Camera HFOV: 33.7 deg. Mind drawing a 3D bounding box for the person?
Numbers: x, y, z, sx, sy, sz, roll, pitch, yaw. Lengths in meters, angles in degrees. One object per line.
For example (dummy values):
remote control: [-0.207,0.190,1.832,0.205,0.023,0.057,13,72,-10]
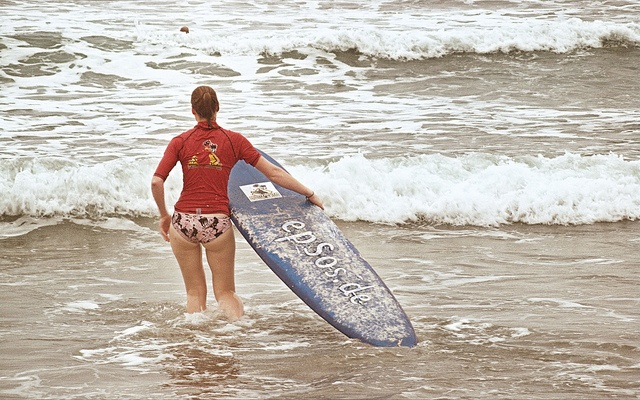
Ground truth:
person: [-1.571,0.065,15.799,1.450,3.501,0.849,-16,21,-33]
